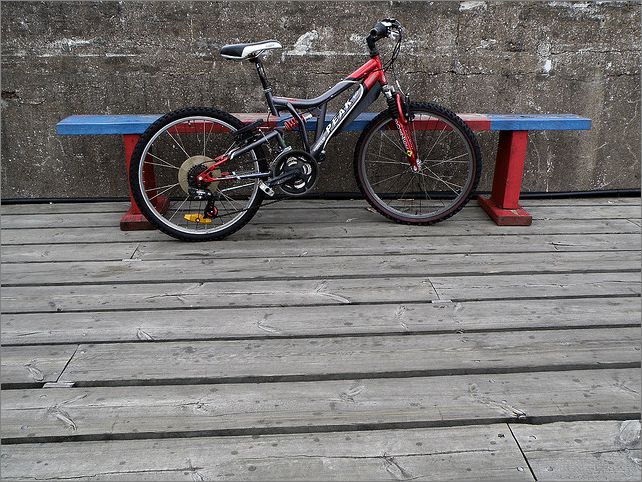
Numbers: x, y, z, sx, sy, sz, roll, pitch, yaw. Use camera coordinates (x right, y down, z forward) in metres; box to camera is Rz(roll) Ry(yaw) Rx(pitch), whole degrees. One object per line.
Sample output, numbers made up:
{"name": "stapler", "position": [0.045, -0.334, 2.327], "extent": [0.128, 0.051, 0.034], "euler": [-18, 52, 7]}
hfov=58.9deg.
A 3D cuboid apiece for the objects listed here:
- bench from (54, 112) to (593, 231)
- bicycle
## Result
{"name": "bench", "position": [-0.016, -0.483, 3.696], "extent": [3.252, 0.492, 0.438], "euler": [-1, 8, 2]}
{"name": "bicycle", "position": [-0.050, -0.625, 3.557], "extent": [2.404, 0.948, 0.658], "euler": [-10, 20, -24]}
